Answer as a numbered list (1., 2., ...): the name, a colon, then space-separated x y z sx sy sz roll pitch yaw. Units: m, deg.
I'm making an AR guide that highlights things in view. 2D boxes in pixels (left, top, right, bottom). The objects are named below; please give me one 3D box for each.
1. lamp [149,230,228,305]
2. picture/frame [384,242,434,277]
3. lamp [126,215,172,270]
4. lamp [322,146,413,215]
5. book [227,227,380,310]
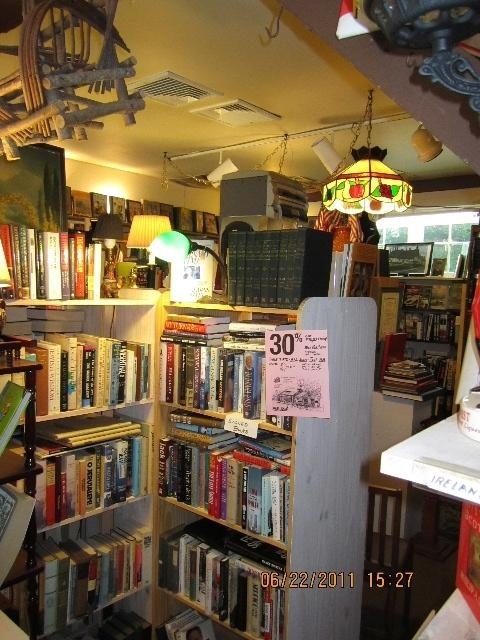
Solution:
1. lamp: -0.201 -0.228 1.971 0.297 0.296 0.309 0 6 -3
2. picture/frame: 2.330 -0.815 6.532 0.730 0.534 0.031 6 -17 16
3. lamp: -0.716 -0.596 3.775 0.373 0.425 0.388 8 7 26
4. lamp: 0.838 -0.914 3.085 0.608 0.378 0.564 -1 5 -14
5. book: 0.209 -0.211 1.850 0.427 0.395 0.291 -3 13 -36
